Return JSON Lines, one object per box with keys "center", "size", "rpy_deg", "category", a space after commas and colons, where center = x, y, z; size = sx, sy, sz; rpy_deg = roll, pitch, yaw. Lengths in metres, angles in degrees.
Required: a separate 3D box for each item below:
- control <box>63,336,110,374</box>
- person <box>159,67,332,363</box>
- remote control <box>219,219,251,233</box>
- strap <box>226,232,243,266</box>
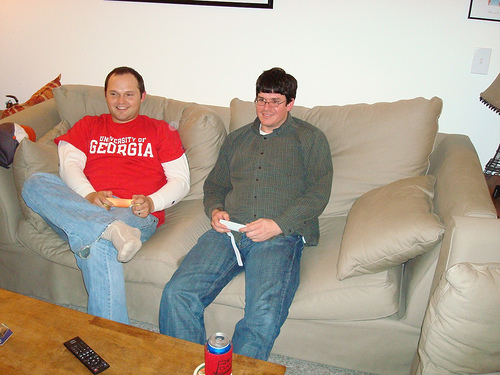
{"center": [-0.572, 0.583, 1.382], "size": [0.184, 0.031, 0.074], "rpy_deg": [33, 35, 26], "category": "control"}
{"center": [-0.020, 0.154, 1.970], "size": [0.678, 1.497, 1.123], "rpy_deg": [6, 9, 17], "category": "person"}
{"center": [-0.070, 0.196, 2.003], "size": [0.199, 0.058, 0.034], "rpy_deg": [14, 25, 29], "category": "remote control"}
{"center": [-0.083, 0.305, 2.017], "size": [0.039, 0.211, 0.019], "rpy_deg": [-22, -21, 3], "category": "strap"}
